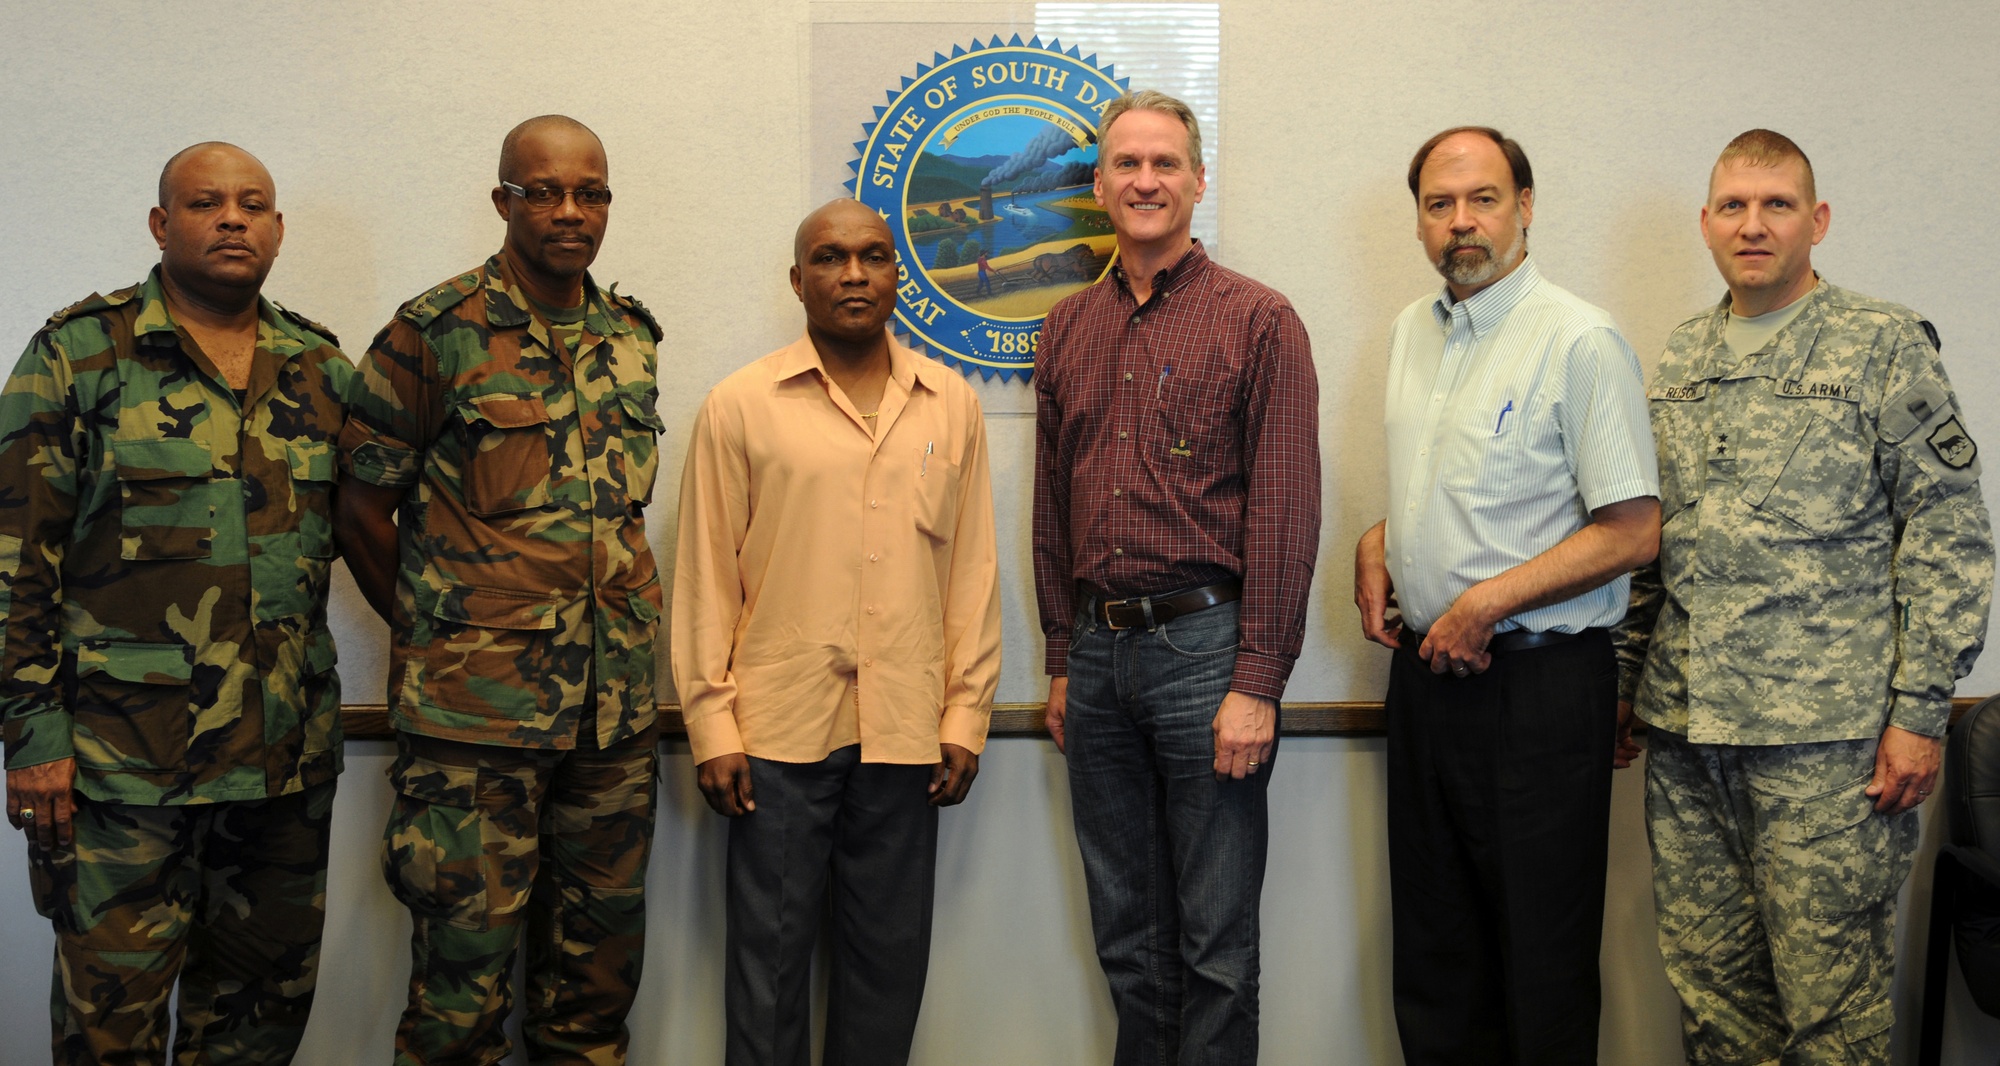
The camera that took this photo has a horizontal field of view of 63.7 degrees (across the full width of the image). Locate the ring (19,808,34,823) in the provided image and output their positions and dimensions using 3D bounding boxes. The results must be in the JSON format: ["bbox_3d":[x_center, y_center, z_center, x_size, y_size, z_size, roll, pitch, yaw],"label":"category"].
[{"bbox_3d":[-2.798,0.817,4.634,0.039,0.041,0.047,3,-29,-21],"label":"ring"}]

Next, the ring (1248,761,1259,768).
[{"bbox_3d":[0.750,0.691,4.776,0.026,0.020,0.014,7,4,11],"label":"ring"}]
